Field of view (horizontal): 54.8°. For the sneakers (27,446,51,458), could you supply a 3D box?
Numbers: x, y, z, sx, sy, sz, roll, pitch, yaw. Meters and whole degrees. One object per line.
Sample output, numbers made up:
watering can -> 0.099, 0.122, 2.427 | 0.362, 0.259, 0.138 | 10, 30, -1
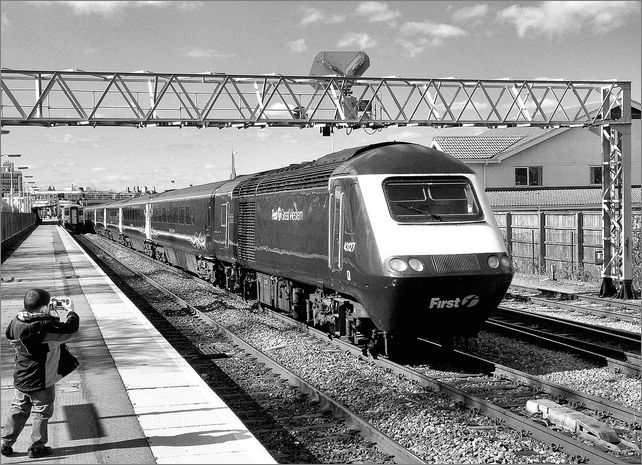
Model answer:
sneakers -> -3.159, 2.479, 6.971 | 0.278, 0.116, 0.105 | -3, 9, -27
